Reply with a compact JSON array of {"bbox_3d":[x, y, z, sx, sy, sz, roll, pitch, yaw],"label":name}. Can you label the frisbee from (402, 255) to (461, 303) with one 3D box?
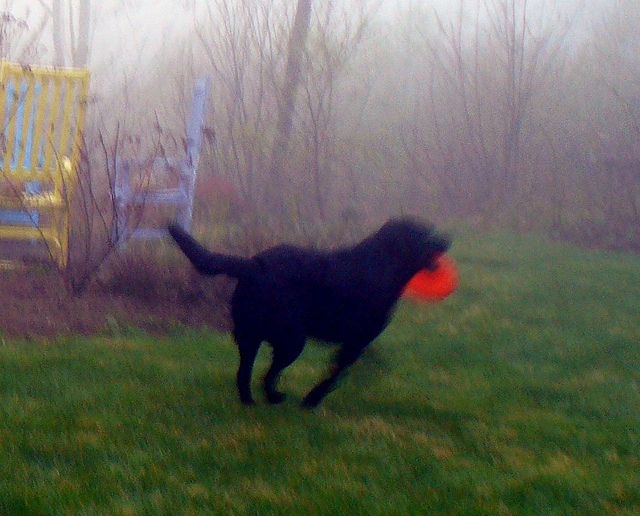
[{"bbox_3d":[0.581,0.112,4.592,0.342,0.274,0.088,-6,16,-33],"label":"frisbee"}]
